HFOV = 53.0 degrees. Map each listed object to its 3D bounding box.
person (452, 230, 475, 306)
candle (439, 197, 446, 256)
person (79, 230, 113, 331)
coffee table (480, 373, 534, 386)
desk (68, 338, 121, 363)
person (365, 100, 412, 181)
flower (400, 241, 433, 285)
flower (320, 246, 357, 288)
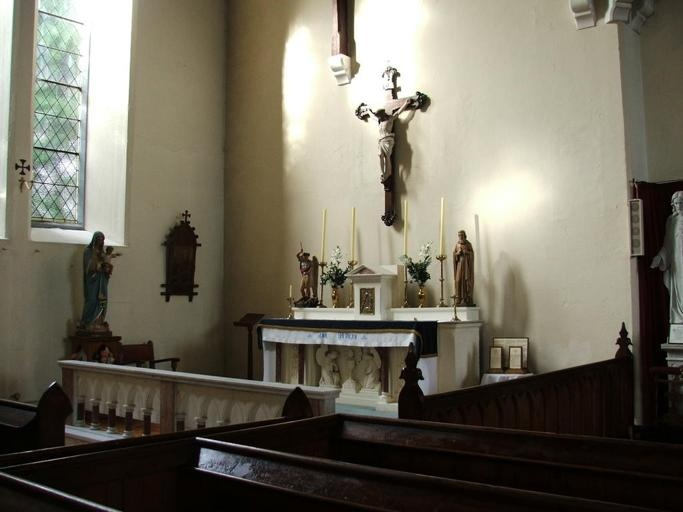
[{"bbox_3d":[1.322,0.134,7.433,0.208,0.816,0.194,-2,-4,10],"label":"person"},{"bbox_3d":[1.155,-0.366,7.908,0.078,0.672,0.280,-2,-4,12],"label":"candle"},{"bbox_3d":[-2.977,0.312,8.386,0.405,1.171,0.401,1,-5,-22],"label":"person"},{"bbox_3d":[1.680,1.267,7.104,0.505,0.108,0.523,-3,-5,19],"label":"coffee table"},{"bbox_3d":[-2.962,1.115,8.192,0.741,0.328,0.499,-1,-5,-8],"label":"desk"},{"bbox_3d":[0.620,-1.399,8.308,0.419,0.987,0.243,-1,-4,3],"label":"person"},{"bbox_3d":[0.882,0.102,7.927,0.346,0.509,0.525,-2,-5,8],"label":"flower"},{"bbox_3d":[-0.050,0.121,8.544,0.371,0.551,0.477,-3,-5,23],"label":"flower"}]
